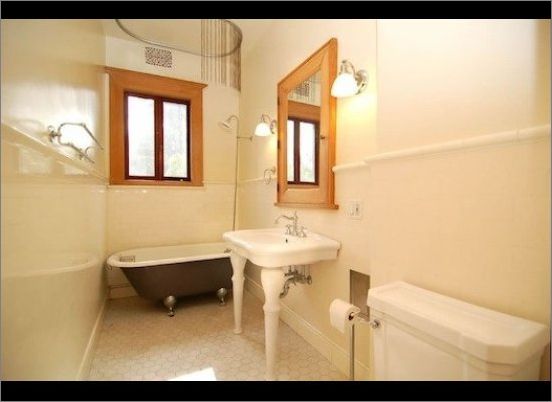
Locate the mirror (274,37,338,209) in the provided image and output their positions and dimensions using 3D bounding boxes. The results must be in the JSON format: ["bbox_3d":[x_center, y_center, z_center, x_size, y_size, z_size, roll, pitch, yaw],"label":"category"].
[{"bbox_3d":[0.206,-0.481,2.741,0.198,1.120,0.809,-2,9,-17],"label":"mirror"}]

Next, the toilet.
[{"bbox_3d":[0.716,0.500,1.506,0.203,0.395,0.443,4,-3,-34],"label":"toilet"}]

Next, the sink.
[{"bbox_3d":[0.024,0.318,2.581,0.559,0.192,0.668,-3,9,-26],"label":"sink"}]

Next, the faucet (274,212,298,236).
[{"bbox_3d":[0.077,0.164,2.811,0.183,0.187,0.116,2,0,6],"label":"faucet"}]

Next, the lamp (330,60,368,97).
[{"bbox_3d":[0.422,-0.670,2.252,0.238,0.215,0.200,-20,25,-34],"label":"lamp"}]

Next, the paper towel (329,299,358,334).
[{"bbox_3d":[0.286,0.494,1.716,0.090,0.102,0.118,4,3,-38],"label":"paper towel"}]

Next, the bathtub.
[{"bbox_3d":[-0.894,0.622,3.346,0.973,0.454,0.827,-5,10,-39],"label":"bathtub"}]
